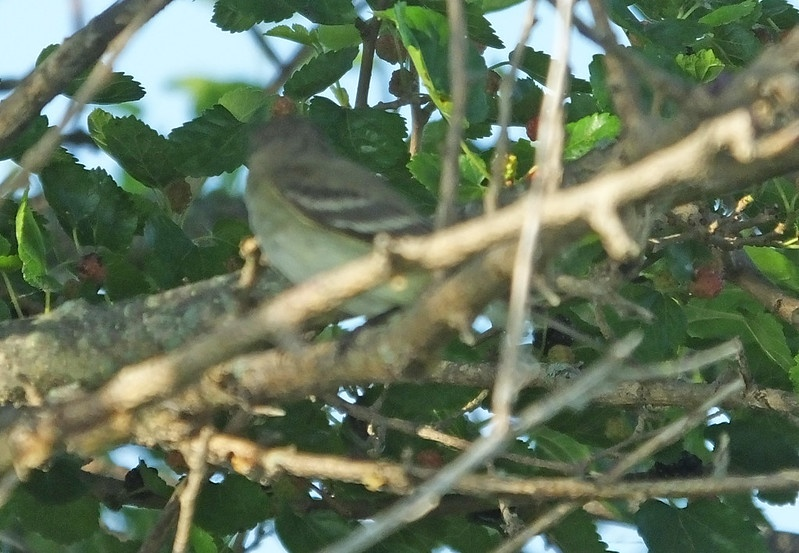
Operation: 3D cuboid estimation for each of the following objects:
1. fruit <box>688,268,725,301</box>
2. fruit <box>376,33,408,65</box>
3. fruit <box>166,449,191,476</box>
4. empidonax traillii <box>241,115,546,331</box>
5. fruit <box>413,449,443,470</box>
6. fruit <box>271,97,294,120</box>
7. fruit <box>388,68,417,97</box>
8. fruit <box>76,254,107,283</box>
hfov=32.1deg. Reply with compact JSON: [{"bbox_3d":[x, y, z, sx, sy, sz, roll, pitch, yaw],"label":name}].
[{"bbox_3d":[0.745,0.014,3.327,0.081,0.070,0.062,-32,-39,-16],"label":"fruit"},{"bbox_3d":[-0.017,-0.563,3.443,0.095,0.078,0.030,-17,3,-18],"label":"fruit"},{"bbox_3d":[-0.549,0.439,3.325,0.026,0.067,0.087,-30,-25,-19],"label":"fruit"},{"bbox_3d":[-0.071,-0.094,3.365,0.694,0.388,0.370,6,-15,-11],"label":"empidonax traillii"},{"bbox_3d":[0.067,0.432,3.338,0.075,0.047,0.069,2,-12,3],"label":"fruit"},{"bbox_3d":[-0.284,-0.393,3.258,0.048,0.037,0.048,-3,-11,-13],"label":"fruit"},{"bbox_3d":[0.007,-0.479,3.452,0.068,0.078,0.126,4,-13,-5],"label":"fruit"},{"bbox_3d":[-0.744,-0.022,3.280,0.071,0.066,0.024,5,-13,-12],"label":"fruit"}]
